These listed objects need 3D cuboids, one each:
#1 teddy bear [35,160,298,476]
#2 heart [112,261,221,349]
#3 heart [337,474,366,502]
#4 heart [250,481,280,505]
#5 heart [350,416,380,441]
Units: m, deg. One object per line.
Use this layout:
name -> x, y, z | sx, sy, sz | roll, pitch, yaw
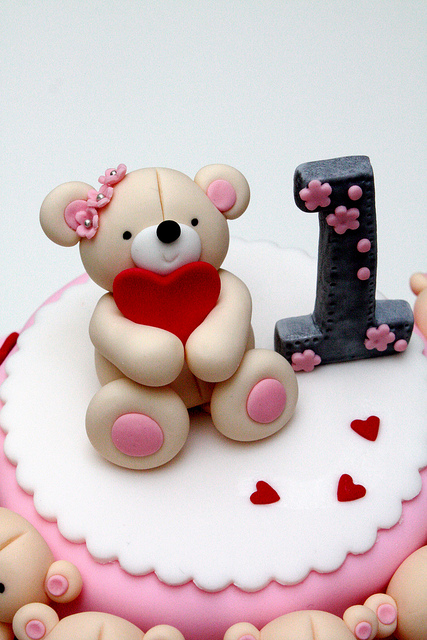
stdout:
teddy bear -> -0.107, -0.016, 2.399 | 0.657, 0.860, 0.481 | -11, 28, -19
heart -> -0.142, -0.043, 2.277 | 0.277, 0.261, 0.037 | -4, 31, -4
heart -> 0.396, 0.497, 2.314 | 0.079, 0.041, 0.080 | 14, 29, 29
heart -> 0.142, 0.509, 2.307 | 0.073, 0.033, 0.075 | -22, 32, -38
heart -> 0.472, 0.338, 2.489 | 0.086, 0.038, 0.087 | 4, 25, 10
